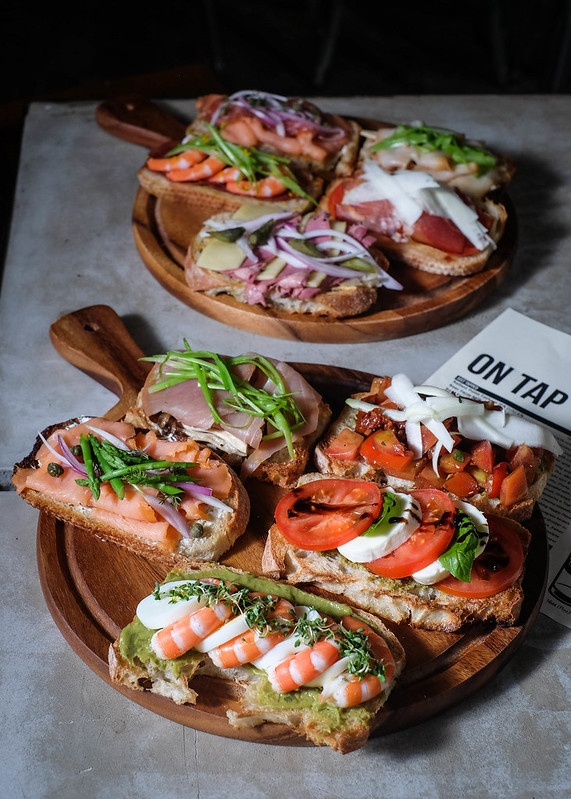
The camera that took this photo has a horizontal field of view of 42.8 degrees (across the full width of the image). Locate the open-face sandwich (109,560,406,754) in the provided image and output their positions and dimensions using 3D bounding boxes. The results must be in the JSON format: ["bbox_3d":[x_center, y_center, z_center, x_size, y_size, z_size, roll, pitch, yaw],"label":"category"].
[{"bbox_3d":[-0.061,0.705,1.930,0.756,0.225,0.416,16,50,5],"label":"open-face sandwich"}]

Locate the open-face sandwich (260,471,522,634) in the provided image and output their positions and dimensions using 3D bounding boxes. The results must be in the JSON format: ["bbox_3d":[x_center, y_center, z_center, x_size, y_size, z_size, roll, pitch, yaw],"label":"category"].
[{"bbox_3d":[0.320,0.432,2.060,0.707,0.223,0.375,8,63,6],"label":"open-face sandwich"}]

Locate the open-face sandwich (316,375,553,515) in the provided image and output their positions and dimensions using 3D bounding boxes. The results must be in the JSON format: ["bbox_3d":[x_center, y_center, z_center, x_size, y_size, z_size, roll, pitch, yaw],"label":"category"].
[{"bbox_3d":[0.477,0.167,2.389,0.723,0.199,0.409,12,61,12],"label":"open-face sandwich"}]

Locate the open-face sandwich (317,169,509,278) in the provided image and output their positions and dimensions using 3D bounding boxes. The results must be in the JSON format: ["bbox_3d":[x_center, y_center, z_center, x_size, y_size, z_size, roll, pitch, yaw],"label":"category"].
[{"bbox_3d":[0.535,-0.733,3.288,0.756,0.189,0.492,25,64,10],"label":"open-face sandwich"}]

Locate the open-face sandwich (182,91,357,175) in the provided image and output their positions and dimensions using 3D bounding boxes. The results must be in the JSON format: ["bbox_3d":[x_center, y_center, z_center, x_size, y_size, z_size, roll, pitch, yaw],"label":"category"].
[{"bbox_3d":[0.051,-1.373,3.755,0.788,0.396,0.281,23,12,36],"label":"open-face sandwich"}]

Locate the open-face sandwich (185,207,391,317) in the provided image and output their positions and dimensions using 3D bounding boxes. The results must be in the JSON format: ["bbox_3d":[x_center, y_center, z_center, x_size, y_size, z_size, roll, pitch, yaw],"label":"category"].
[{"bbox_3d":[0.006,-0.534,3.085,0.804,0.213,0.441,6,51,-2],"label":"open-face sandwich"}]

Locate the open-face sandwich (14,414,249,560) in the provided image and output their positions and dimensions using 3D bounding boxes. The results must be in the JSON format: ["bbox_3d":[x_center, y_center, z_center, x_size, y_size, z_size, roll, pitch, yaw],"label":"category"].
[{"bbox_3d":[-0.462,0.321,2.353,0.729,0.231,0.380,15,53,3],"label":"open-face sandwich"}]

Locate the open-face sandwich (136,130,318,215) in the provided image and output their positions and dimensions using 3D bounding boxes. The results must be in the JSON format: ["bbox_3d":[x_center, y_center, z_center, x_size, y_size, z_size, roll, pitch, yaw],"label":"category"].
[{"bbox_3d":[-0.422,-1.133,3.791,0.603,0.705,0.169,7,84,-7],"label":"open-face sandwich"}]

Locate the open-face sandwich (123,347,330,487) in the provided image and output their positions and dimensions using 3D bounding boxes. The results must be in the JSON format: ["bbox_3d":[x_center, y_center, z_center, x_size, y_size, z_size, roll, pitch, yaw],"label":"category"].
[{"bbox_3d":[-0.184,-0.013,2.577,0.676,0.215,0.489,25,53,12],"label":"open-face sandwich"}]
